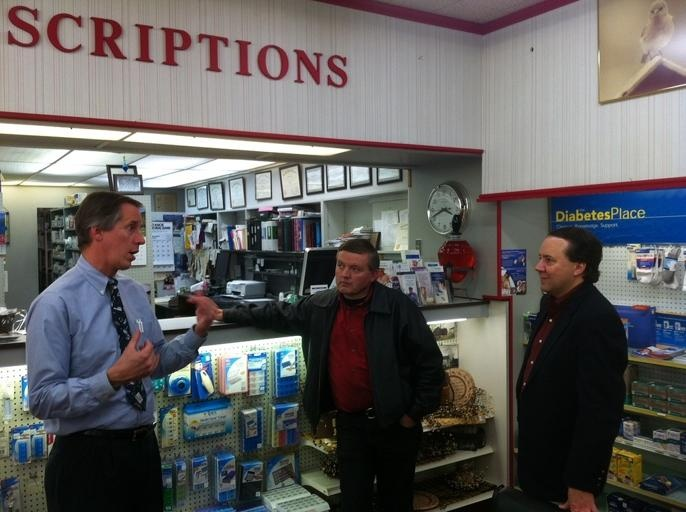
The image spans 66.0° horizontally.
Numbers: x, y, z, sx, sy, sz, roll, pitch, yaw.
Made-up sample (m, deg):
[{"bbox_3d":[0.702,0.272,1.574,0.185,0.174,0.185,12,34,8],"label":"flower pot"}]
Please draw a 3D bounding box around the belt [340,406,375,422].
[{"bbox_3d":[0.083,0.952,3.232,0.230,0.073,0.032,-1,4,21],"label":"belt"}]

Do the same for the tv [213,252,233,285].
[{"bbox_3d":[-1.978,0.208,8.782,0.141,0.452,0.426,14,-15,-34],"label":"tv"}]

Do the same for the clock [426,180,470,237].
[{"bbox_3d":[0.965,-0.438,4.802,0.135,0.529,0.487,-2,4,-31],"label":"clock"}]

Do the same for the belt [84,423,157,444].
[{"bbox_3d":[-1.039,0.813,2.442,0.147,0.033,0.149,1,-1,-13],"label":"belt"}]
